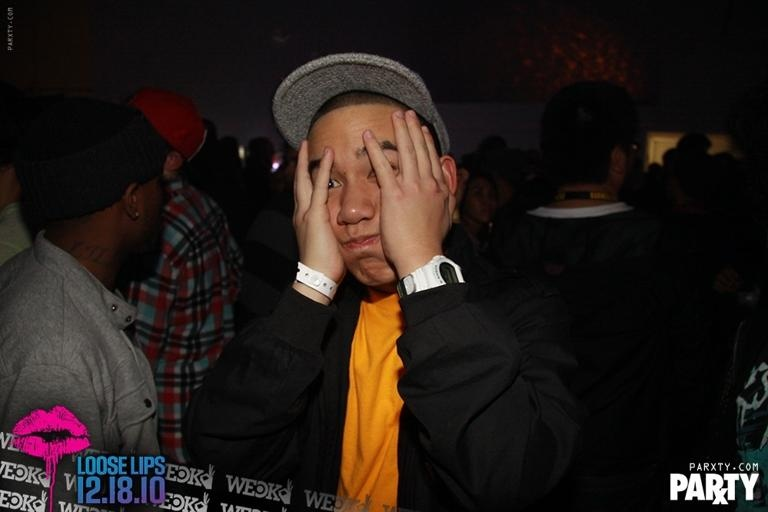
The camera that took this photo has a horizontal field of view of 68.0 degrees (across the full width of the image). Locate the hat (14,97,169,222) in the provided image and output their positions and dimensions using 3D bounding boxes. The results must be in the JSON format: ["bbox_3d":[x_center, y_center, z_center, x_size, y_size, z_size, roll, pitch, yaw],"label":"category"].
[{"bbox_3d":[-1.461,-0.505,3.001,0.525,0.743,0.381,36,-36,32],"label":"hat"}]
